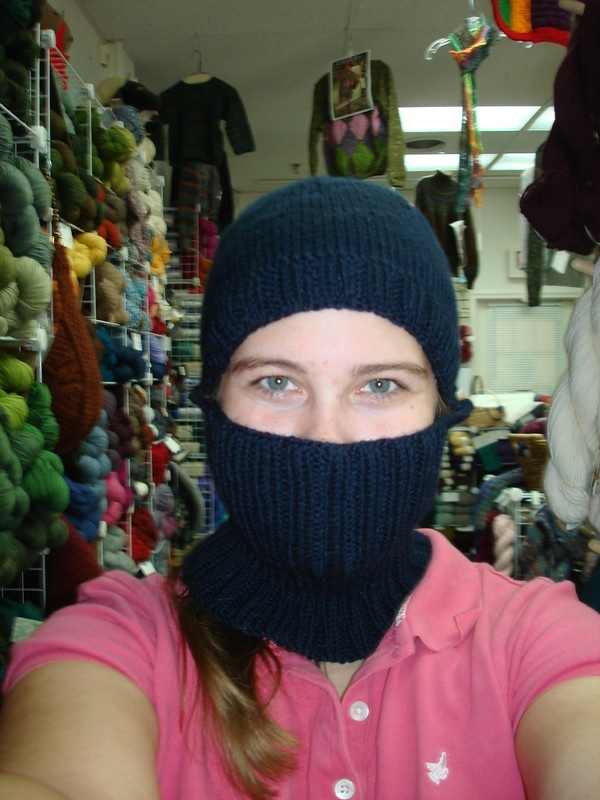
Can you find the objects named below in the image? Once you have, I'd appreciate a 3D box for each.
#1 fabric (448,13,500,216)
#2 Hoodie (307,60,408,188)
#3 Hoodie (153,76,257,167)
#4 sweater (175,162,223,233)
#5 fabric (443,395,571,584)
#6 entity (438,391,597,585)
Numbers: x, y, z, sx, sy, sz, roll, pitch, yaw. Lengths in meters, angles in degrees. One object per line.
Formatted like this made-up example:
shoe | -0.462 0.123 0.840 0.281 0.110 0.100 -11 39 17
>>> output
fabric | 0.648 -1.072 2.878 0.229 0.586 0.144 1 11 19
Hoodie | 0.299 -1.460 4.050 0.615 0.712 0.466 5 10 17
Hoodie | -0.606 -1.686 4.657 0.685 0.531 0.099 1 7 16
sweater | -0.635 -1.356 4.895 0.265 0.295 0.098 -10 -10 -25
fabric | 0.720 0.408 2.655 0.444 0.367 0.521 1 -10 1
entity | 0.752 0.361 2.863 0.663 0.742 0.375 0 5 13
